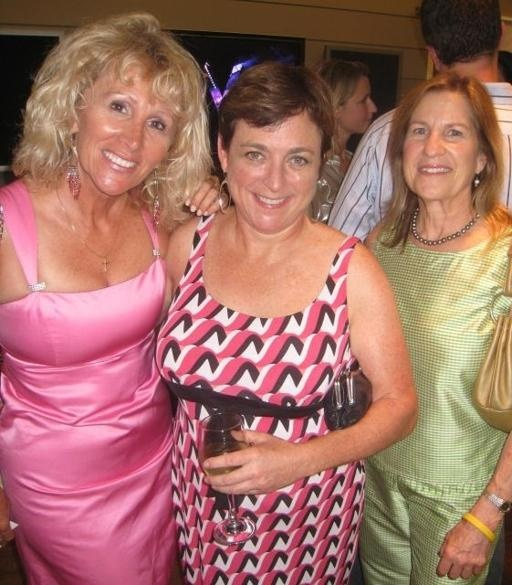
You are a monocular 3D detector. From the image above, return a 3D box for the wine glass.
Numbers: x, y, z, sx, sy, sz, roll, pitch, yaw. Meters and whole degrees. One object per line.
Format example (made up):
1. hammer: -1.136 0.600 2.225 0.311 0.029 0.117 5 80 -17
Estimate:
1. wine glass: -0.076 0.524 1.501 0.122 0.436 0.122 -6 18 -4
